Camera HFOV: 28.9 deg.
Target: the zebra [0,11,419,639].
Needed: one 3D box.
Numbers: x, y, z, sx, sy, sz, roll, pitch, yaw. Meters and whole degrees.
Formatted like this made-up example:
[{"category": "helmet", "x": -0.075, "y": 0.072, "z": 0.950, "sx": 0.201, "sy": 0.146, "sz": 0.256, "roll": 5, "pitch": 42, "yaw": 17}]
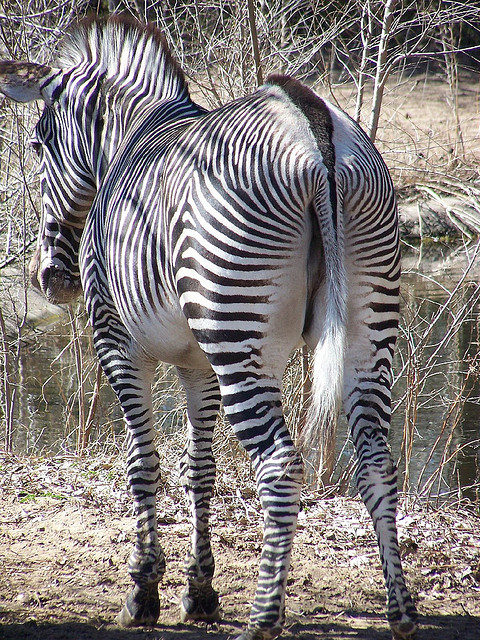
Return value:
[{"category": "zebra", "x": -0.109, "y": 0.039, "z": 4.080, "sx": 0.894, "sy": 2.777, "sz": 2.097, "roll": -10, "pitch": 16, "yaw": -33}]
